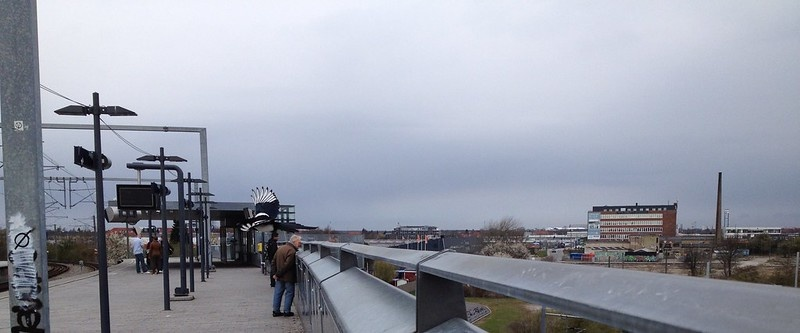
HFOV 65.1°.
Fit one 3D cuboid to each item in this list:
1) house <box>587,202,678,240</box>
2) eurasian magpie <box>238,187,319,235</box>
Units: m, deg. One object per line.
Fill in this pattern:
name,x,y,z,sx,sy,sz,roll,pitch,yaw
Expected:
house,82.910,19.509,217.263,28.694,12.540,14.787,-5,-20,28
eurasian magpie,-13.305,4.496,63.883,5.128,4.273,2.891,-6,-9,36
